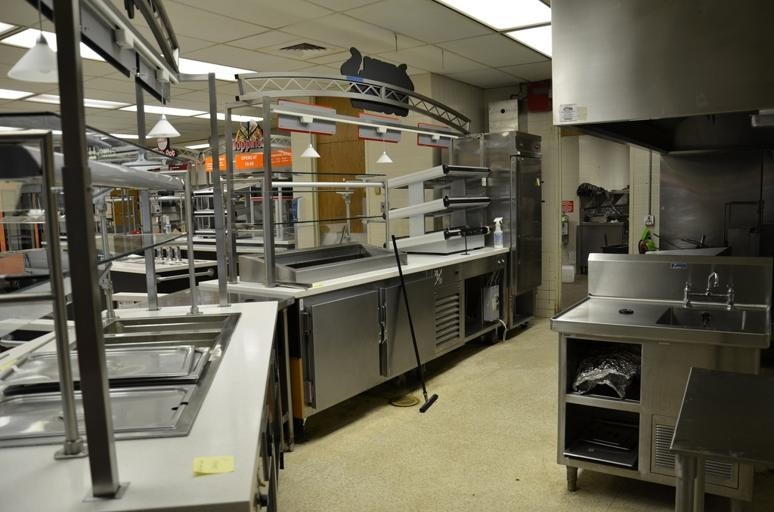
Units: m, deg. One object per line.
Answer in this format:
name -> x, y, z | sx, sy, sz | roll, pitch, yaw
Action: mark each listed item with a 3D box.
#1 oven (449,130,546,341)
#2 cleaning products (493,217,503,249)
oven -> 1.293, -0.314, 6.489 | 1.012, 2.133, 0.782 | 0, 11, 5
cleaning products -> 1.228, -0.267, 6.307 | 0.110, 0.309, 0.261 | 1, 11, 10
